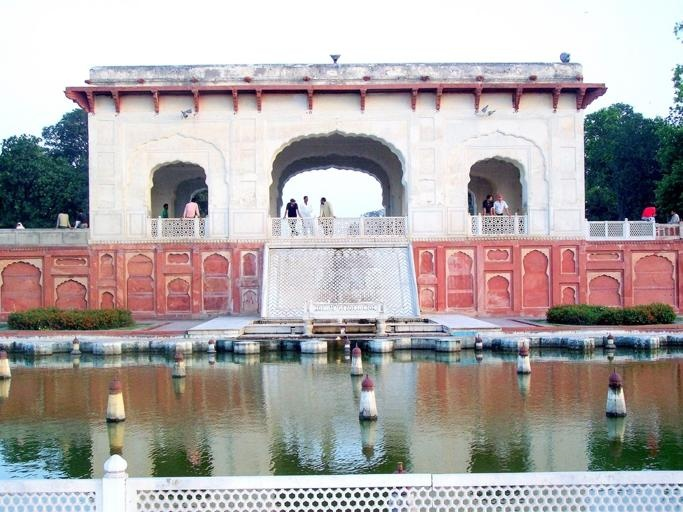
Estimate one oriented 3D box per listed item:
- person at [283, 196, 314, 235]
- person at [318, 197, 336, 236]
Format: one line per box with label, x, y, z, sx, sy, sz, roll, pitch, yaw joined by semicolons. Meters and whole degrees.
person;-1.297;-1.206;43.123;0.884;1.254;0.764;-3;-10;-1
person;-0.448;-1.188;43.124;0.433;1.314;0.962;-3;-10;0
